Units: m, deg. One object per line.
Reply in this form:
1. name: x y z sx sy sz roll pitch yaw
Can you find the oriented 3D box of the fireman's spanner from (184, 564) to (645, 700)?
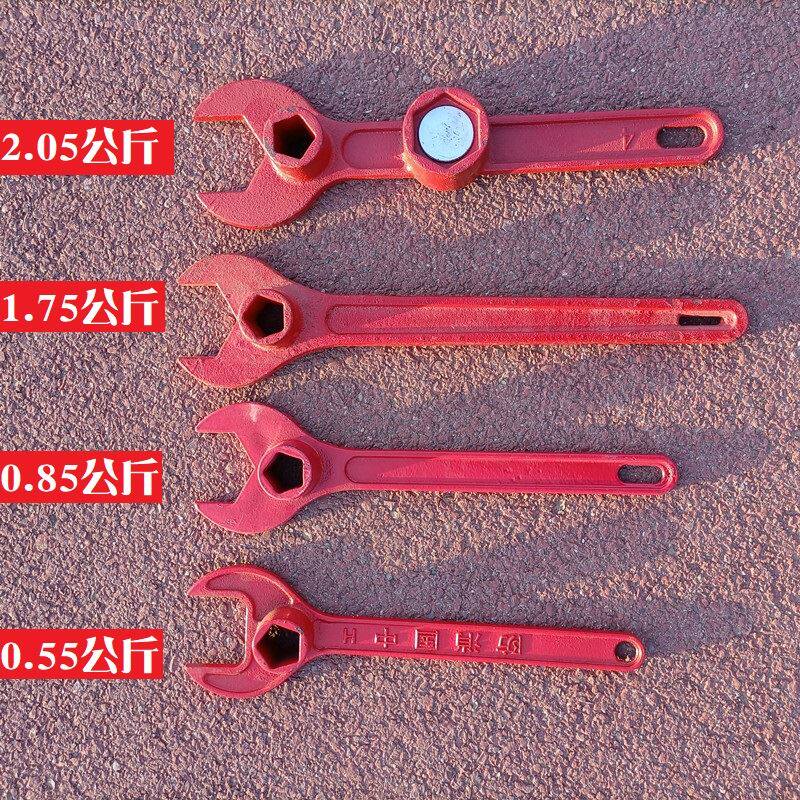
1. fireman's spanner: 0.027 0.363 1.890 0.689 0.066 0.190 3 -84 -1
